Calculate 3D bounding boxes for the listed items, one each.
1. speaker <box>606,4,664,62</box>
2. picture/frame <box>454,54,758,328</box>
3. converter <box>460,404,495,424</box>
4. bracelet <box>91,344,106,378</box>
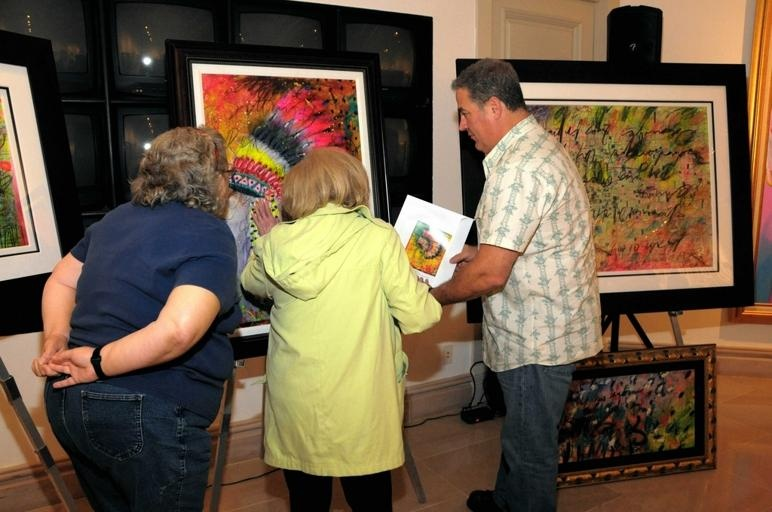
[{"bbox_3d":[1.587,-1.416,3.817,0.327,0.363,0.261,0,11,19],"label":"speaker"},{"bbox_3d":[1.155,-0.351,3.130,1.561,1.307,0.072,0,-3,-11],"label":"picture/frame"},{"bbox_3d":[0.600,1.034,4.019,0.158,0.036,0.107,-5,16,-19],"label":"converter"},{"bbox_3d":[-1.028,0.390,2.142,0.049,0.120,0.031,1,11,24],"label":"bracelet"}]
